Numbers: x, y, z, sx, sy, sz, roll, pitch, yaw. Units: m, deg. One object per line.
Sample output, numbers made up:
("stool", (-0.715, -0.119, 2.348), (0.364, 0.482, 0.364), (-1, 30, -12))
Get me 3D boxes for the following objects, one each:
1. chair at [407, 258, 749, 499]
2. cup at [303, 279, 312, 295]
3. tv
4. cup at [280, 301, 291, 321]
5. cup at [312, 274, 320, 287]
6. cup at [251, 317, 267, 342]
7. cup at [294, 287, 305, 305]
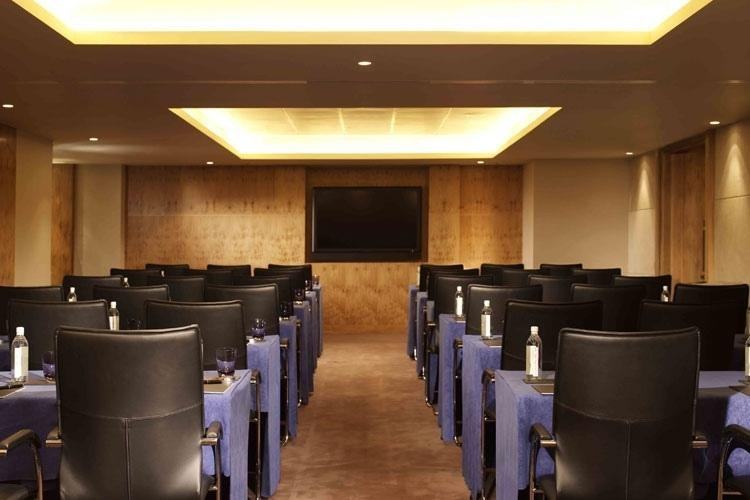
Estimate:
("chair", (1.069, 1.000, 4.832), (1.680, 0.881, 1.726), (-1, 5, -1))
("cup", (-0.871, 0.488, 8.150), (0.136, 0.233, 0.145), (-1, -2, 0))
("tv", (-0.148, -0.544, 11.736), (2.135, 1.521, 0.124), (0, 29, -2))
("cup", (-0.862, 0.617, 6.170), (0.129, 0.150, 0.132), (0, -3, 0))
("cup", (-0.912, 0.483, 9.438), (0.161, 0.190, 0.165), (0, -1, 0))
("cup", (-0.948, 0.678, 5.190), (0.146, 0.172, 0.148), (-1, -4, 0))
("cup", (-0.883, 0.533, 7.223), (0.142, 0.201, 0.146), (0, -1, 0))
